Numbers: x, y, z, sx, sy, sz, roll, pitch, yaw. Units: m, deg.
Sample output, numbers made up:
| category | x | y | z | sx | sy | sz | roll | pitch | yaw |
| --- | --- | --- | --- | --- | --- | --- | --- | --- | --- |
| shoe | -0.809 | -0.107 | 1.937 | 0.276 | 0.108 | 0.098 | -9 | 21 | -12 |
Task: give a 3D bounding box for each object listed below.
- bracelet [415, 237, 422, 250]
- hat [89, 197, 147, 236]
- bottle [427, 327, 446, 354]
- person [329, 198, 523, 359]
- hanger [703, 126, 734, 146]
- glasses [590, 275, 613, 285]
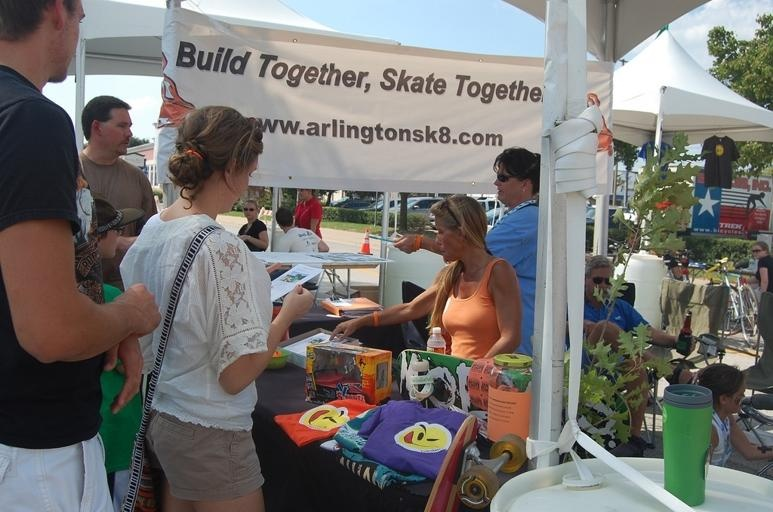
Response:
| category | x | y | z | sx | sy | sz | roll | pitch | yaw |
| --- | --- | --- | --- | --- | --- | --- | --- | --- | --- |
| bracelet | 0.210 | -0.085 | 3.883 | 0.029 | 0.072 | 0.052 | 2 | 3 | -8 |
| hat | -1.396 | -0.210 | 3.061 | 0.306 | 0.122 | 0.210 | -25 | 33 | -13 |
| bottle | 0.240 | 0.409 | 2.845 | 0.072 | 0.112 | 0.226 | 3 | 4 | 2 |
| person | 0.362 | 0.097 | 3.294 | 0.878 | 0.882 | 0.506 | 5 | 4 | 37 |
| hanger | 4.721 | -1.716 | 8.411 | 0.353 | 0.189 | 0.366 | 5 | 4 | 28 |
| glasses | 1.193 | 0.136 | 3.286 | 0.133 | 0.045 | 0.136 | 4 | -2 | -18 |
